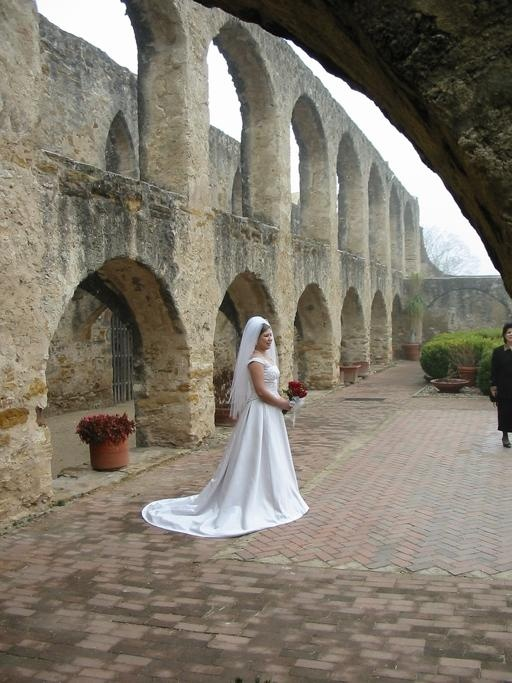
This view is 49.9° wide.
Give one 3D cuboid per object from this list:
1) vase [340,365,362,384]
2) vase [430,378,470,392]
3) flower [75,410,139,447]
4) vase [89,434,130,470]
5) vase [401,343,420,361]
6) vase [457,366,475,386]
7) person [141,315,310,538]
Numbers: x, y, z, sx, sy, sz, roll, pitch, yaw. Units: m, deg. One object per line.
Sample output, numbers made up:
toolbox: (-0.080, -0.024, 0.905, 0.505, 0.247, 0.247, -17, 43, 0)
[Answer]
vase: (2.604, 0.902, 15.233, 0.615, 0.373, 0.490, 0, -7, 10)
vase: (4.572, 1.041, 12.957, 0.683, 0.311, 0.735, -1, 1, 29)
flower: (-1.658, 0.975, 6.374, 0.551, 0.363, 0.582, -3, 5, 6)
vase: (-1.629, 1.246, 6.213, 0.424, 0.297, 0.388, 0, -4, -17)
vase: (6.306, 0.439, 22.255, 0.729, 0.480, 0.659, -1, -6, 9)
vase: (5.090, 0.823, 13.453, 0.470, 0.364, 0.431, 0, -3, 1)
person: (-0.185, 0.644, 4.548, 1.192, 1.692, 0.772, -2, 1, 4)
